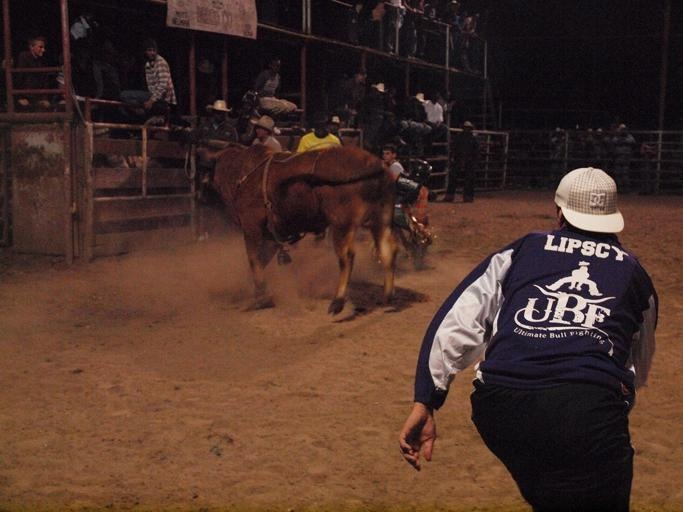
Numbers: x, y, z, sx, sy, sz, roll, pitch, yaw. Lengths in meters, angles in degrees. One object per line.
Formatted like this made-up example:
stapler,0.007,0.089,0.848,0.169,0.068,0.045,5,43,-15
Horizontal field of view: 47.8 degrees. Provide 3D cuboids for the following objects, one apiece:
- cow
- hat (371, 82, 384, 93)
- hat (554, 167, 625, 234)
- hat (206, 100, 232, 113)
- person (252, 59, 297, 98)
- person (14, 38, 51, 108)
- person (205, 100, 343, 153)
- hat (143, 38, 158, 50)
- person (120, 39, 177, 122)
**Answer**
cow,-0.582,-0.454,9.643,2.540,1.941,1.002,14,20,42
hat,0.877,-4.108,18.693,0.192,0.264,0.640,1,1,15
hat,1.371,-0.309,4.342,0.294,0.176,0.427,-3,41,-1
hat,-2.034,-2.471,12.774,0.460,0.188,0.499,5,4,-11
person,-1.394,-3.400,14.690,0.437,0.725,0.926,1,15,5
person,-4.739,-2.805,11.743,0.480,1.083,1.125,-6,16,-21
person,-1.014,-2.155,13.001,1.399,0.542,2.432,6,8,35
hat,-3.017,-3.346,12.131,0.163,0.155,0.253,-5,16,-18
person,-3.116,-2.787,12.374,0.805,1.359,0.627,-4,15,-15
